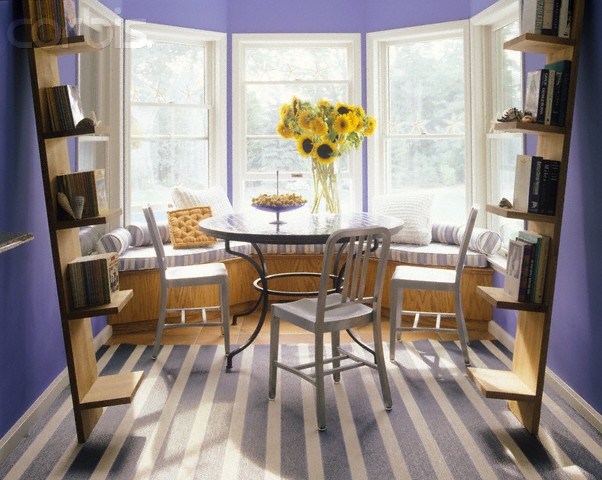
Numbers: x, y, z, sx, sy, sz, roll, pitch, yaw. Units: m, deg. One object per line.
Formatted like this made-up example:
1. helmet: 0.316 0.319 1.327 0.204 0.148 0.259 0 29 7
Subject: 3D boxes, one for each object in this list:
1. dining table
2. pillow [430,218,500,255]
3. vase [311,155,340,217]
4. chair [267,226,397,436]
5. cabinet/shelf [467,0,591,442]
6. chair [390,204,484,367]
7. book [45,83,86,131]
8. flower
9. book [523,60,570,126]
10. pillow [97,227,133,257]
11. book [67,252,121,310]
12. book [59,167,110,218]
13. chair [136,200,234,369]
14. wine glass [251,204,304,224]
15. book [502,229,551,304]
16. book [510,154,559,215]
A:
1. dining table: -0.073 0.130 3.227 1.055 0.869 1.125 1 4 3
2. pillow: 1.378 -0.110 3.951 0.549 0.188 0.146 5 31 20
3. vase: 0.180 -0.368 3.552 0.201 0.527 0.203 4 -30 -6
4. chair: 0.151 0.409 2.617 0.792 1.047 0.793 -6 11 -37
5. cabinet/shelf: 1.092 -0.101 2.361 0.442 2.051 0.494 0 11 -1
6. chair: 0.890 0.293 3.253 0.494 0.964 0.470 2 7 17
7. book: -1.099 -0.619 2.216 0.049 0.209 0.193 2 14 17
8. flower: 0.266 -0.780 3.357 0.566 0.367 0.524 -2 4 -28
9. book: 1.168 -0.702 2.271 0.158 0.305 0.210 -1 11 -4
10. pillow: -1.371 0.013 3.468 0.106 0.119 0.248 -23 5 8
11. book: -1.037 0.197 2.384 0.196 0.260 0.348 -3 5 -17
12. book: -1.018 -0.219 2.335 0.260 0.291 0.203 -2 8 -4
13. chair: -0.791 0.245 3.314 0.655 0.979 0.702 2 6 27
14. wine glass: -0.134 -0.186 3.169 0.295 0.142 0.325 6 14 29
15. book: 1.126 0.138 2.347 0.124 0.391 0.354 3 1 5
16. book: 1.141 -0.272 2.308 0.215 0.275 0.142 8 14 37
